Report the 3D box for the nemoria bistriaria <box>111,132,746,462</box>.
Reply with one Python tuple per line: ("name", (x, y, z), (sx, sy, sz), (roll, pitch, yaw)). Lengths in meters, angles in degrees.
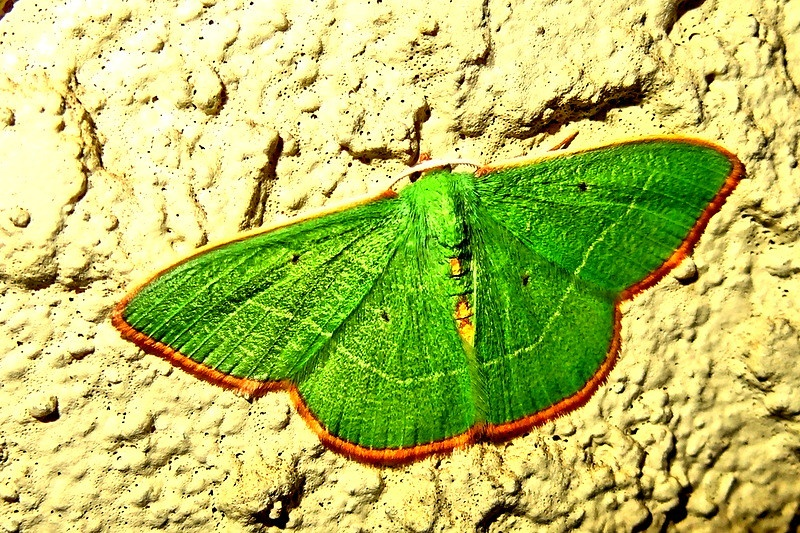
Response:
("nemoria bistriaria", (0.234, 0.126, 5.491), (3.385, 0.357, 1.769), (-15, 107, -3))
